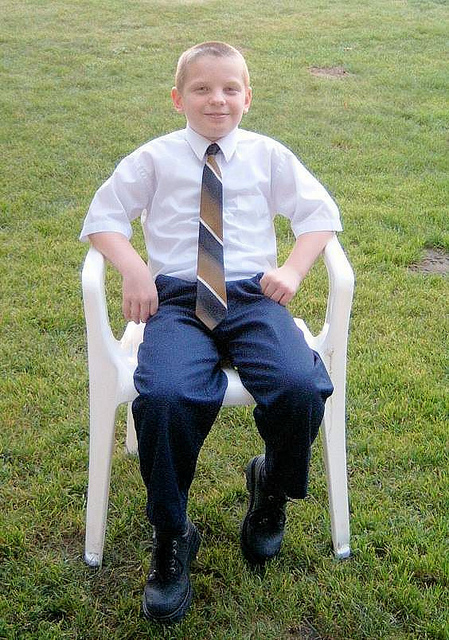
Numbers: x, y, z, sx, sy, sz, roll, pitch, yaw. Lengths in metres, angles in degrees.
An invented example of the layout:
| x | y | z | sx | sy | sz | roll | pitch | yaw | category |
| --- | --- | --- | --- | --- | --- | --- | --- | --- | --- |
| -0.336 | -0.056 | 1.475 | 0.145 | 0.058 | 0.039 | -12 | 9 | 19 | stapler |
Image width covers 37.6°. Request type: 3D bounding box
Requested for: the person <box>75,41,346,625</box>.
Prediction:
| x | y | z | sx | sy | sz | roll | pitch | yaw | category |
| --- | --- | --- | --- | --- | --- | --- | --- | --- | --- |
| -0.044 | -0.043 | 1.729 | 0.771 | 1.340 | 0.699 | -1 | 13 | -5 | person |
